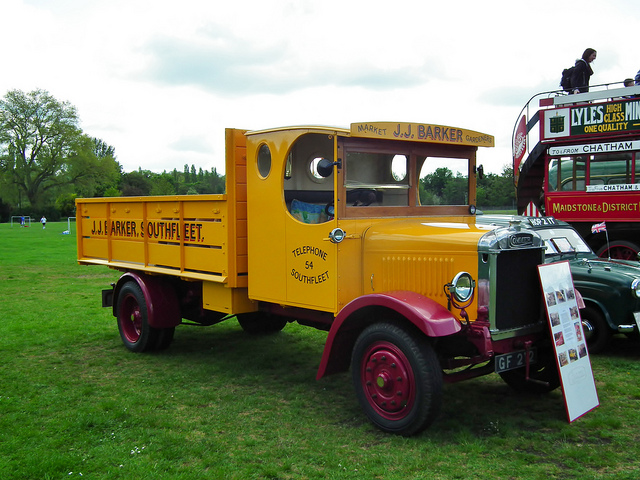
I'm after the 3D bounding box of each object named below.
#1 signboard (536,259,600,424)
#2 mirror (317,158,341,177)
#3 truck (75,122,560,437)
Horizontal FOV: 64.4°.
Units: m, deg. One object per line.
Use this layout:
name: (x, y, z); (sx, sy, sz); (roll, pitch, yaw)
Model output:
signboard: (2.722, 1.061, 5.590); (0.747, 1.577, 0.470); (-4, 6, -38)
mirror: (0.075, -0.945, 6.620); (0.195, 0.220, 0.268); (-4, 8, -30)
truck: (-0.200, 0.127, 7.559); (3.149, 3.286, 6.405); (-4, 5, -44)
